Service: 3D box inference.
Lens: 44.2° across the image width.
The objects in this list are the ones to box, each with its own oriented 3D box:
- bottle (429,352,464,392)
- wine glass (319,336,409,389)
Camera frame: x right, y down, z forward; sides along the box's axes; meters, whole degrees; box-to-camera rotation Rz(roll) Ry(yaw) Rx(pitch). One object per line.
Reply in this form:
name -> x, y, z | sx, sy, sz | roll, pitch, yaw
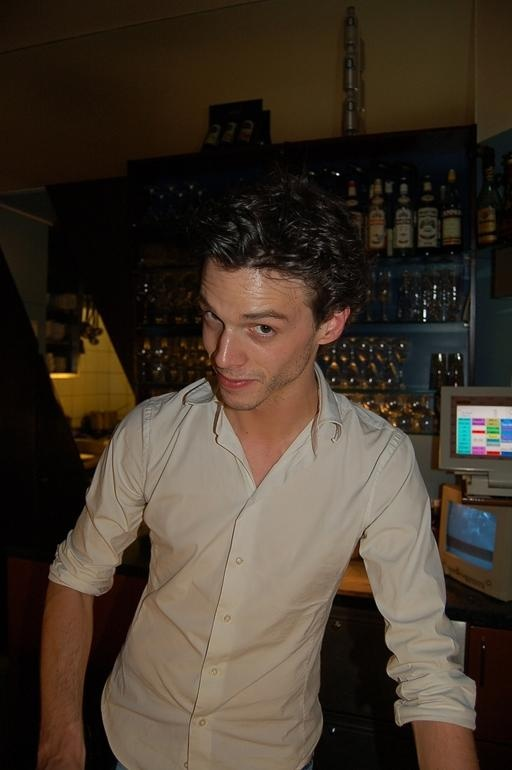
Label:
bottle -> 0.809, -0.055, 2.668 | 0.084, 0.156, 0.159 | 3, -4, -37
wine glass -> 0.473, -0.103, 2.766 | 0.381, 0.230, 0.094 | -1, -5, 6
